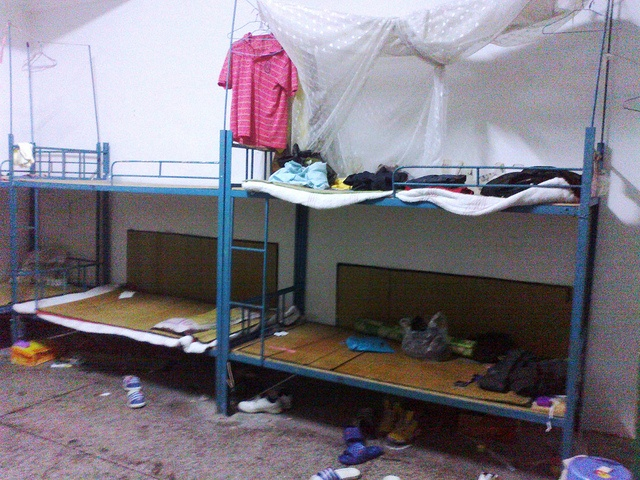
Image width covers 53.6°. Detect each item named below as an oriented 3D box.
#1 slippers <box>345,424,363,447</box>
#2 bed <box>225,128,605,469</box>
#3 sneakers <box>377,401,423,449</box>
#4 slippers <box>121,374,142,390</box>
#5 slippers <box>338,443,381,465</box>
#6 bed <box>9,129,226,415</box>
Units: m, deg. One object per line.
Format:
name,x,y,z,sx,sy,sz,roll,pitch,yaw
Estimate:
slippers,0.288,1.712,5.543,0.180,0.049,0.133,-5,32,-5
bed,0.781,0.370,5.742,3.151,2.631,1.259,3,4,25
sneakers,0.691,1.661,5.640,0.228,0.177,0.540,1,-5,14
slippers,-1.896,1.443,6.414,0.197,0.133,0.135,7,1,26
slippers,0.327,1.812,5.367,0.324,0.065,0.160,-1,-1,-32
bed,-2.252,0.360,7.116,4.128,2.374,1.382,5,8,30
